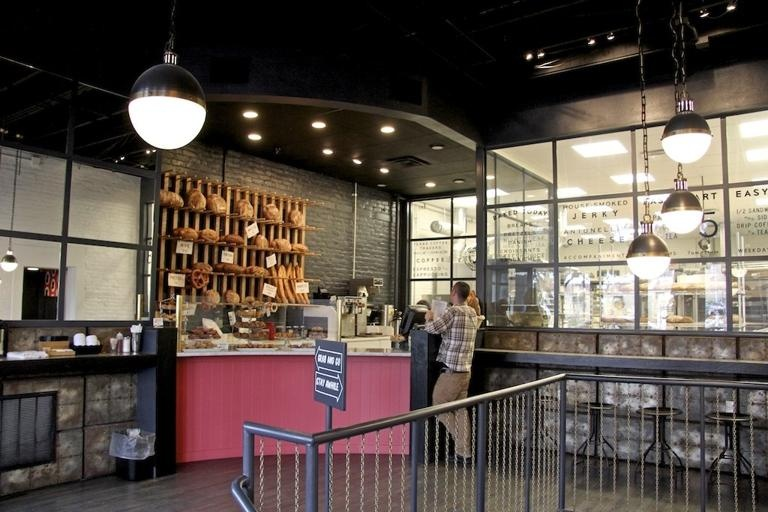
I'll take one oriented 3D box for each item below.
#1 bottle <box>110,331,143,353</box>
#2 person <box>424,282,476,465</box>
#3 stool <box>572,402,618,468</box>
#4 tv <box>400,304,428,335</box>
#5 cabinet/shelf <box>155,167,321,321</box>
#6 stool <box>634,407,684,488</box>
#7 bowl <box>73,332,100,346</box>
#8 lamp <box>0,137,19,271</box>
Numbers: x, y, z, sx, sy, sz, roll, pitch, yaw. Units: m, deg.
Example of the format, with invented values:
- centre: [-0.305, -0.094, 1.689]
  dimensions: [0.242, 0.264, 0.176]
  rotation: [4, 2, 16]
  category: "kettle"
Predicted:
- centre: [-2.942, 1.012, 7.275]
  dimensions: [0.358, 0.313, 0.193]
  rotation: [4, -7, -19]
  category: "bottle"
- centre: [0.834, 1.405, 7.593]
  dimensions: [0.633, 2.200, 1.573]
  rotation: [-1, -5, 8]
  category: "person"
- centre: [2.666, 2.203, 7.973]
  dimensions: [0.475, 0.753, 0.565]
  rotation: [-1, -5, 18]
  category: "stool"
- centre: [0.424, 0.886, 8.689]
  dimensions: [0.207, 0.362, 0.390]
  rotation: [35, 26, 27]
  category: "tv"
- centre: [-2.263, -0.101, 10.196]
  dimensions: [2.758, 1.881, 0.599]
  rotation: [9, -19, -41]
  category: "cabinet/shelf"
- centre: [3.346, 2.226, 7.674]
  dimensions: [0.484, 0.851, 0.583]
  rotation: [-2, -5, 23]
  category: "stool"
- centre: [-3.368, 0.948, 7.214]
  dimensions: [0.271, 0.135, 0.178]
  rotation: [2, -5, -25]
  category: "bowl"
- centre: [-4.271, -0.492, 7.316]
  dimensions: [0.165, 1.361, 0.415]
  rotation: [4, -6, -39]
  category: "lamp"
